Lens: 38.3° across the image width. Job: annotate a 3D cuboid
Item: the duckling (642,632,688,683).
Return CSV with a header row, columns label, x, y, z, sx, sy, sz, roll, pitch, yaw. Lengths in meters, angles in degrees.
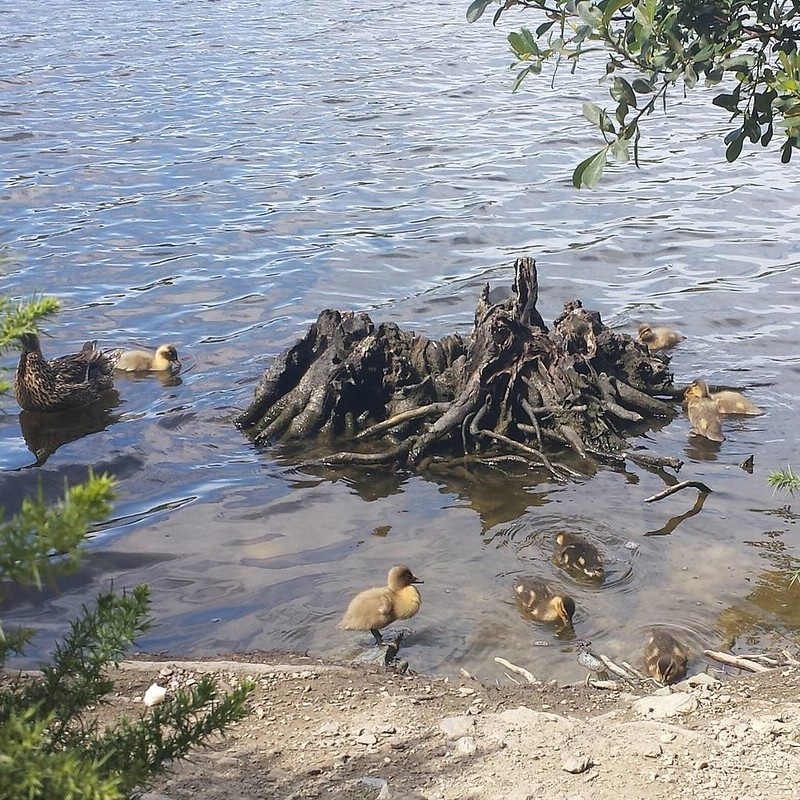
label,x,y,z,sx,sy,sz,roll,pitch,yaw
duckling,2.323,2.253,10.103,0.288,0.184,0.480,5,30,12
